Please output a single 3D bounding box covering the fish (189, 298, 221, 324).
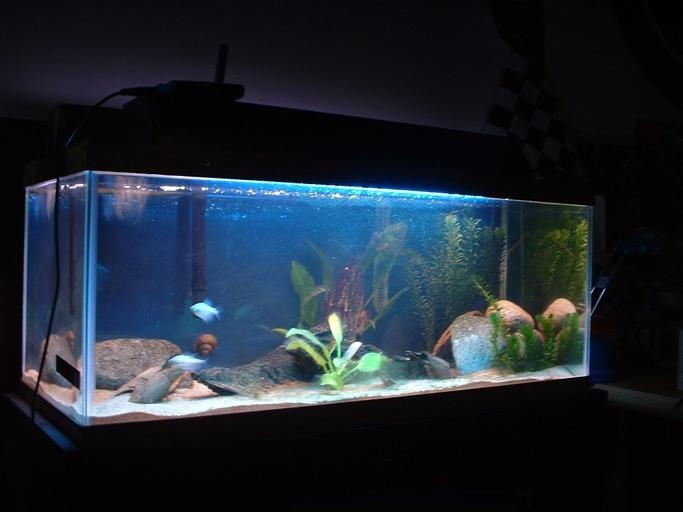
[{"bbox_3d":[-0.485,0.199,2.122,0.107,0.081,0.019,0,4,-11],"label":"fish"}]

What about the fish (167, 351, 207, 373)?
[{"bbox_3d":[-0.553,0.386,2.132,0.101,0.028,0.079,6,15,2],"label":"fish"}]
